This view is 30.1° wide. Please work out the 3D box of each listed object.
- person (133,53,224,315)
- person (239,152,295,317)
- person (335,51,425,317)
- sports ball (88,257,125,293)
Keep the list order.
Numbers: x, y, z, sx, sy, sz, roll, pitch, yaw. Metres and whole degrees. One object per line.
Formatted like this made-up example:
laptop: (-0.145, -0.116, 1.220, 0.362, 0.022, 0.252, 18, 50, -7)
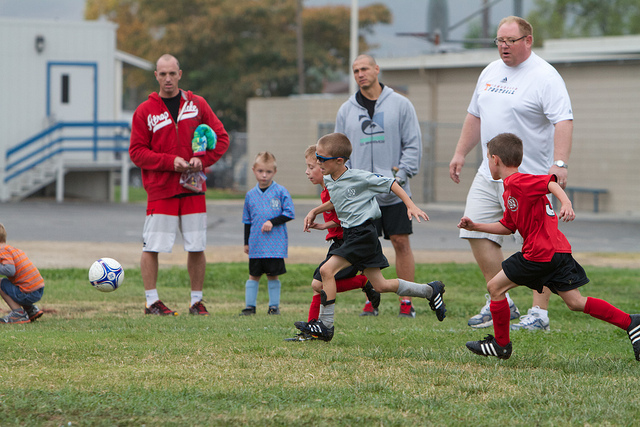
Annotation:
person: (-1.965, -0.391, 16.316, 1.135, 3.523, 0.496, -1, 9, -10)
person: (-0.746, 0.279, 16.538, 0.713, 2.219, 0.510, 0, 8, -3)
person: (0.794, -0.386, 16.556, 1.130, 3.739, 1.149, -5, 2, 21)
sports ball: (-2.929, 0.913, 16.509, 0.445, 0.457, 0.452, -29, -18, -10)
